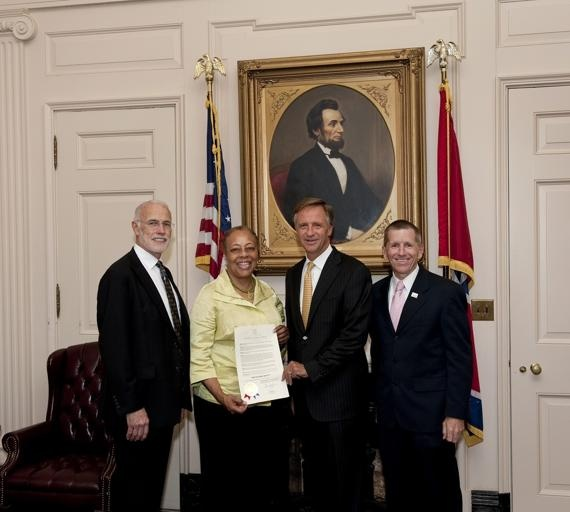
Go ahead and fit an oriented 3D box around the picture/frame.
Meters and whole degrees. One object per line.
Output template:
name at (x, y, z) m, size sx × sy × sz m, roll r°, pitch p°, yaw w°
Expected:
picture/frame at (0.384, -0.650, 4.441) m, size 1.134 × 1.771 × 0.152 m, roll -1°, pitch -2°, yaw 9°
